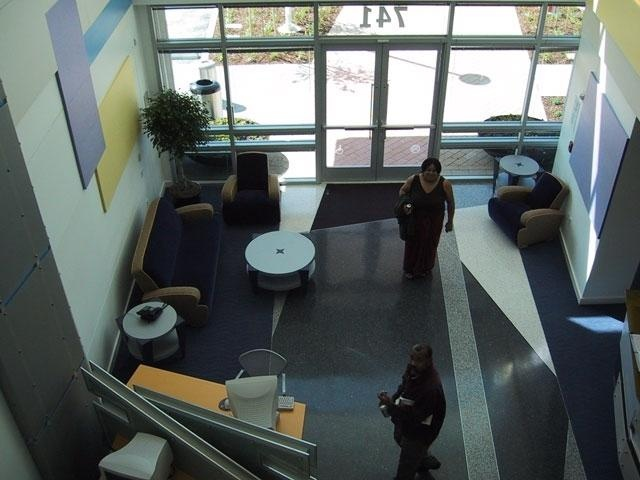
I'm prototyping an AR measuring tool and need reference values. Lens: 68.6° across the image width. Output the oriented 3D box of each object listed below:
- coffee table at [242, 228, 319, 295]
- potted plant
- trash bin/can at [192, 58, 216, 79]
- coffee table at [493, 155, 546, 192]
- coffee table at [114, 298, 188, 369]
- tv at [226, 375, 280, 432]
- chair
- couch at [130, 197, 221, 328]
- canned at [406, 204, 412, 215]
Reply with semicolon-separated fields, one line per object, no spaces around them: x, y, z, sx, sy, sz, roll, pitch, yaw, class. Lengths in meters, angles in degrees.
-0.708;0.411;8.400;1.190;0.717;1.199;-1;25;-6;coffee table
-2.906;-1.790;9.797;1.347;2.363;1.302;-9;23;-31;potted plant
-2.432;-3.674;10.022;0.381;0.384;0.370;-4;47;-3;trash bin/can
4.347;-1.535;10.439;0.800;0.929;0.818;-2;54;5;coffee table
-2.599;1.428;6.940;0.901;0.930;0.881;6;25;-5;coffee table
-0.630;1.569;4.772;0.499;0.656;0.510;0;3;-6;tv
-0.894;1.916;6.891;0.658;0.837;0.611;-1;53;-5;chair
-2.389;0.231;8.263;1.159;0.984;2.506;0;36;-10;couch
1.464;-0.494;7.670;0.114;0.175;0.070;-2;25;-7;canned
